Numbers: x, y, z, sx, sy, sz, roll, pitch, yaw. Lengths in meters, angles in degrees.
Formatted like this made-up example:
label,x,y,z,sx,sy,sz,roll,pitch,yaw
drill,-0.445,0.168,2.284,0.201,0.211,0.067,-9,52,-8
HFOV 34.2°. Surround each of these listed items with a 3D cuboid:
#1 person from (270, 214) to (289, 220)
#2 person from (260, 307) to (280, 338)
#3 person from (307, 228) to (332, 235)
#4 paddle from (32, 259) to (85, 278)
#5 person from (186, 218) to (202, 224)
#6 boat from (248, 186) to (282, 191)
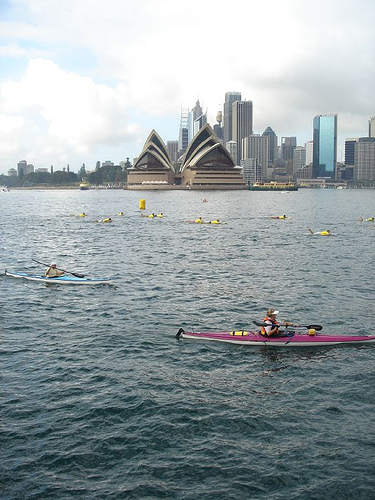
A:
label,x,y,z,sx,sy,sz,roll,pitch,yaw
person,11.456,-4.032,75.413,2.508,0.789,0.638,0,12,-31
person,2.988,2.676,22.304,0.444,1.221,0.573,-7,19,-2
person,12.309,-1.670,56.318,1.599,0.663,0.592,1,16,8
paddle,-6.346,1.023,31.661,1.976,0.136,0.201,24,3,-2
person,0.875,-3.333,69.795,1.317,0.551,0.714,1,14,11
boat,27.316,-22.027,216.745,9.616,1.000,1.620,-5,19,-31
